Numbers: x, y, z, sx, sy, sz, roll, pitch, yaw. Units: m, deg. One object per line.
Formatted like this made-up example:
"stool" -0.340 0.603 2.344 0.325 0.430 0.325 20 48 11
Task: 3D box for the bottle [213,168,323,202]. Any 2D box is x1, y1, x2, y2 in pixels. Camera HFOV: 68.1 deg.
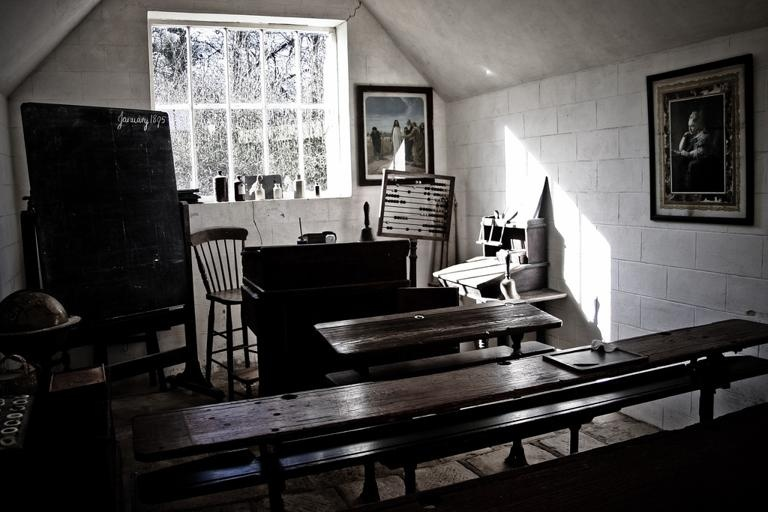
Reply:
"bottle" -1.423 -0.787 6.504 0.975 0.293 0.348 -3 9 -16
